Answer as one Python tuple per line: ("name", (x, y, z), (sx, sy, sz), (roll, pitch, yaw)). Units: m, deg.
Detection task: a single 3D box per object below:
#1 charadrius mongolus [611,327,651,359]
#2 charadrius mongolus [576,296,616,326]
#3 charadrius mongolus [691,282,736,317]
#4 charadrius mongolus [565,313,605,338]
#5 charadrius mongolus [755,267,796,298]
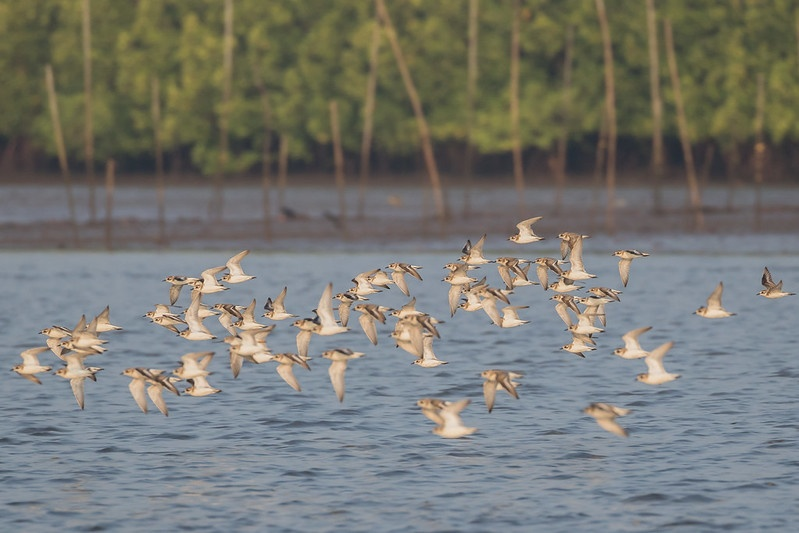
("charadrius mongolus", (8.166, 2.827, 60.274), (1.169, 0.359, 1.368), (-19, -12, 4))
("charadrius mongolus", (6.777, 1.736, 58.440), (1.435, 0.404, 1.515), (2, 17, -2))
("charadrius mongolus", (11.950, 1.345, 65.152), (1.288, 0.498, 1.284), (-14, -26, 1))
("charadrius mongolus", (6.255, 2.116, 58.297), (1.166, 1.026, 0.730), (-10, 18, -17))
("charadrius mongolus", (14.865, 0.705, 67.548), (1.281, 0.489, 1.366), (-10, -8, 9))
